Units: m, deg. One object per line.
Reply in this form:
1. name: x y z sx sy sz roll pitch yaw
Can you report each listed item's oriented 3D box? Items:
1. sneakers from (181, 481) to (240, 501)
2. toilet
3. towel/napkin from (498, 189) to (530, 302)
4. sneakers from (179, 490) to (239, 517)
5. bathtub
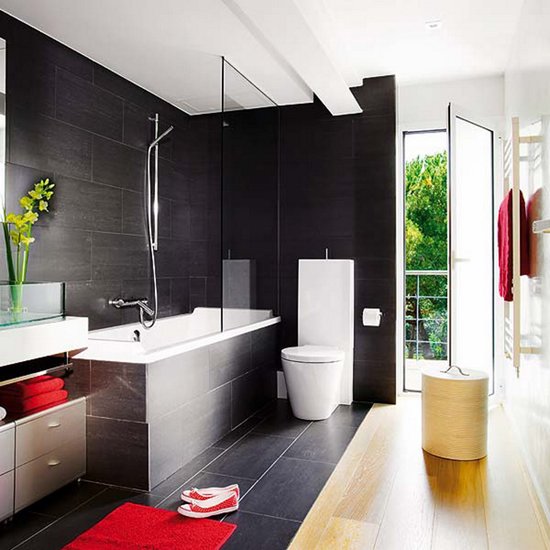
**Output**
1. sneakers: -0.308 1.033 2.278 0.268 0.095 0.109 4 -9 -4
2. toilet: 0.296 0.803 3.638 0.405 0.503 0.503 -1 2 33
3. towel/napkin: 1.378 -0.160 2.712 0.100 0.754 0.610 0 -1 16
4. sneakers: -0.289 1.006 2.163 0.214 0.099 0.109 5 -9 -22
5. bathtub: -0.557 0.316 3.036 0.458 0.250 1.452 2 2 29
